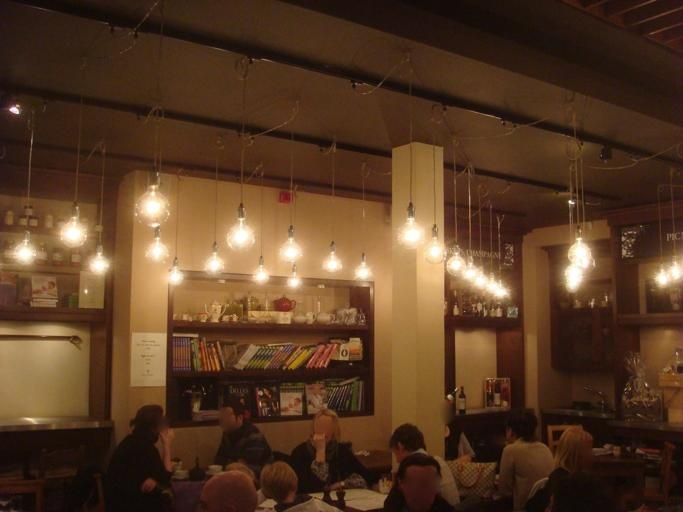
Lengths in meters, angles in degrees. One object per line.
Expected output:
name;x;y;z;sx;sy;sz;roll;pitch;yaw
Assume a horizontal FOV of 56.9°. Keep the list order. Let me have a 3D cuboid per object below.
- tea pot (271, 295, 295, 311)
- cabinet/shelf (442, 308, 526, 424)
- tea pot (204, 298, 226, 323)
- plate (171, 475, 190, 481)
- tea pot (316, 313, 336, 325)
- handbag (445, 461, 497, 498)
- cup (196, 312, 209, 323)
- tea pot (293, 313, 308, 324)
tea pot;-0.738;0.607;7.983;0.234;0.192;0.173;5;-11;0
cabinet/shelf;2.179;1.697;9.709;1.599;2.070;0.725;3;-10;-21
tea pot;-1.510;0.658;7.533;0.243;0.283;0.304;3;-9;-12
plate;-1.517;2.094;5.932;0.079;0.027;0.086;4;-3;1
tea pot;-0.209;0.826;8.133;0.144;0.117;0.181;-11;-14;39
handbag;1.158;1.944;5.553;0.479;0.377;0.270;1;-15;-1
cup;-1.633;0.725;7.424;0.146;0.122;0.223;2;-9;-8
tea pot;-0.526;0.786;7.934;0.110;0.096;0.120;1;-3;0
